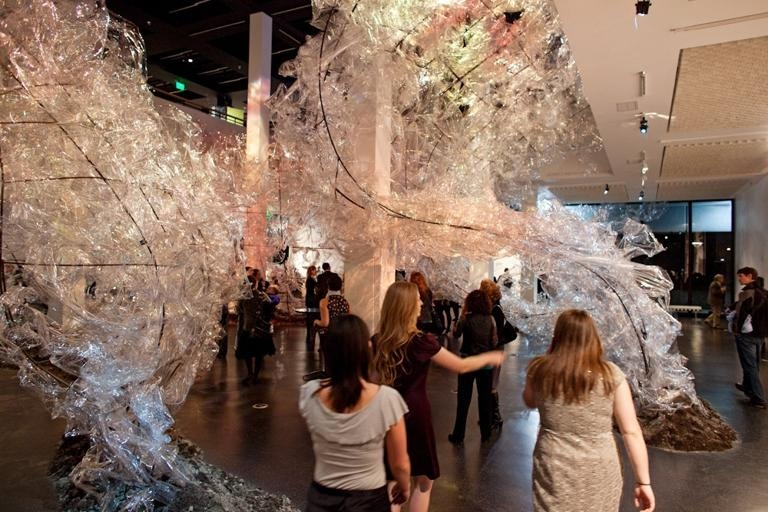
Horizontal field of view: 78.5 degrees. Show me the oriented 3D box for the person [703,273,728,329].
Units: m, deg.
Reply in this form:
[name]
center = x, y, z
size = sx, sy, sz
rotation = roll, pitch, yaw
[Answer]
[person]
center = 9.400, 1.224, 13.294
size = 0.396, 1.548, 2.345
rotation = 1, 0, 35
